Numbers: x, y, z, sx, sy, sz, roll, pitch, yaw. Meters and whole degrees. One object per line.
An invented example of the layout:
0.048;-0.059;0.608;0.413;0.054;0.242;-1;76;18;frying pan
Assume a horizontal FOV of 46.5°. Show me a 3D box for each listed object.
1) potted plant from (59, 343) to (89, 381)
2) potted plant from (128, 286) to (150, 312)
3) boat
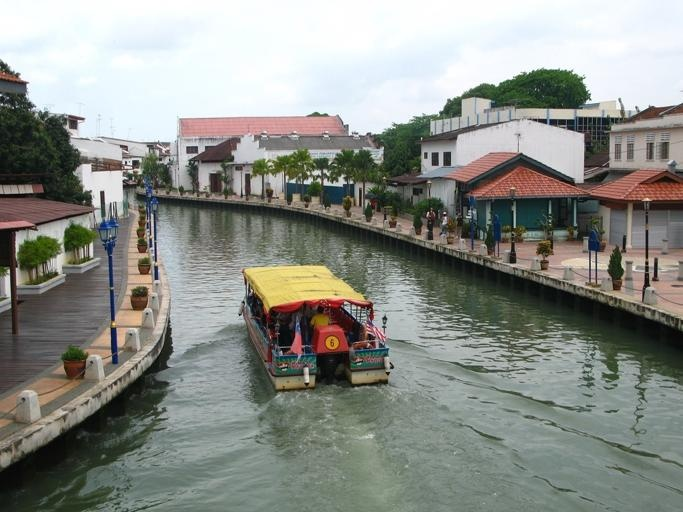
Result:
-8.753;3.466;26.120;0.964;1.008;0.981;1;0;-13;potted plant
-8.587;1.850;33.974;0.892;0.874;0.768;7;17;31;potted plant
-1.252;2.554;29.463;2.947;1.858;6.360;-4;13;-14;boat
